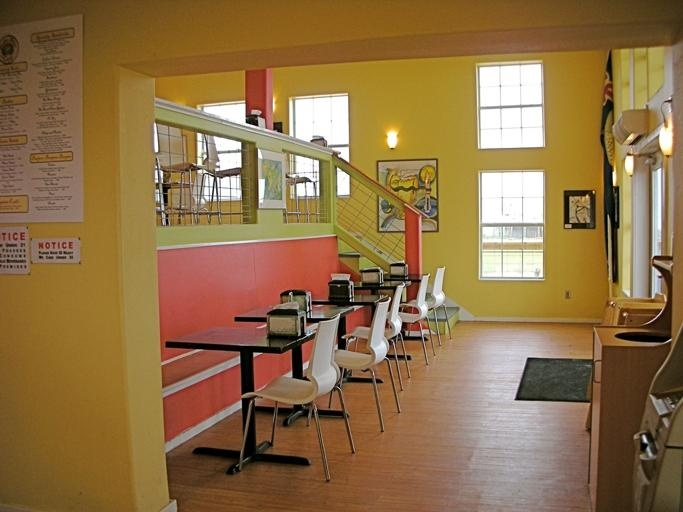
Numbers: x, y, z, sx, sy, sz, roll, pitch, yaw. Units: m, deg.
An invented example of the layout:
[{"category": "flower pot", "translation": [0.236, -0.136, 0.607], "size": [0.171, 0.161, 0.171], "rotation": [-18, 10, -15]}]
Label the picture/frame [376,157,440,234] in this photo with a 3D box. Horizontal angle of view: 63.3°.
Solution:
[{"category": "picture/frame", "translation": [1.168, -1.059, 9.910], "size": [1.111, 1.457, 0.024], "rotation": [1, -20, 3]}]

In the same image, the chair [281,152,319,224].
[{"category": "chair", "translation": [-0.581, -0.947, 8.834], "size": [0.443, 0.889, 0.852], "rotation": [-2, -3, 0]}]

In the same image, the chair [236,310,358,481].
[{"category": "chair", "translation": [-0.367, 1.011, 4.118], "size": [0.732, 1.072, 0.725], "rotation": [3, -4, 23]}]

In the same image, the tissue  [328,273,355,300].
[{"category": "tissue ", "translation": [0.006, 0.343, 6.266], "size": [0.192, 0.223, 0.316], "rotation": [0, -2, 5]}]

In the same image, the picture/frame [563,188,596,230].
[{"category": "picture/frame", "translation": [3.985, -0.793, 9.293], "size": [0.506, 0.746, 0.040], "rotation": [1, 34, 27]}]

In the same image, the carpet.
[{"category": "carpet", "translation": [2.375, 1.329, 6.113], "size": [0.801, 0.994, 0.020], "rotation": [4, 48, 6]}]

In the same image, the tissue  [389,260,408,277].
[{"category": "tissue ", "translation": [0.822, 0.184, 7.977], "size": [0.182, 0.188, 0.262], "rotation": [-1, 3, -13]}]

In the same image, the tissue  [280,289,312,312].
[{"category": "tissue ", "translation": [-0.407, 0.379, 5.079], "size": [0.293, 0.239, 0.169], "rotation": [0, -1, 10]}]

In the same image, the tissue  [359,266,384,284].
[{"category": "tissue ", "translation": [0.406, 0.257, 7.281], "size": [0.260, 0.193, 0.202], "rotation": [0, -4, 6]}]

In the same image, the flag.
[{"category": "flag", "translation": [4.026, -1.252, 8.369], "size": [0.254, 3.461, 0.346], "rotation": [1, 30, 30]}]
